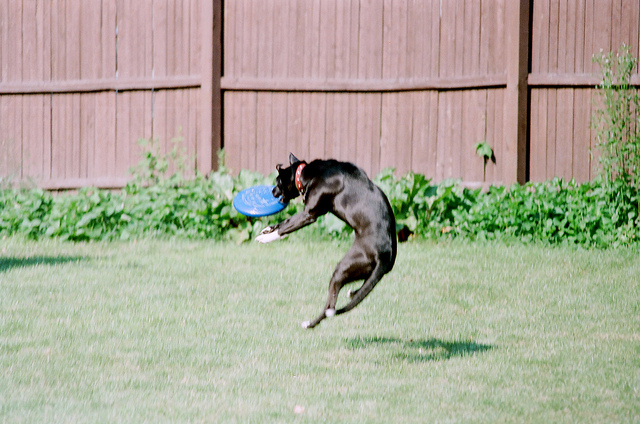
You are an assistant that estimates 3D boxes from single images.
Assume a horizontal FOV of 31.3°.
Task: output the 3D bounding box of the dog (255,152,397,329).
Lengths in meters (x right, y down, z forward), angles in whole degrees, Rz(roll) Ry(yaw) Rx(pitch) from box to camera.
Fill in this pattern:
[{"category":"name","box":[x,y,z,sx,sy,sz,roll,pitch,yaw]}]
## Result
[{"category":"dog","box":[-0.012,0.176,14.072,2.154,1.614,0.727,30,12,28]}]
